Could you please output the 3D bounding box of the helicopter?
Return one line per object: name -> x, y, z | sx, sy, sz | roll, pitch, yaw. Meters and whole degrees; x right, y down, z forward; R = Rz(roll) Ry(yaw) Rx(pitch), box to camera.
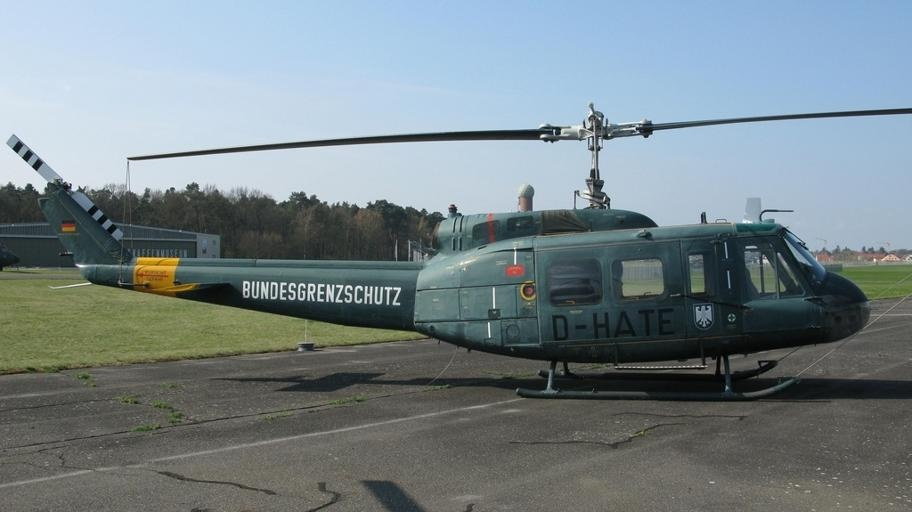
helicopter -> 1.863, 0.862, 23.137 | 15.748, 4.633, 12.670 | -2, -1, 9
